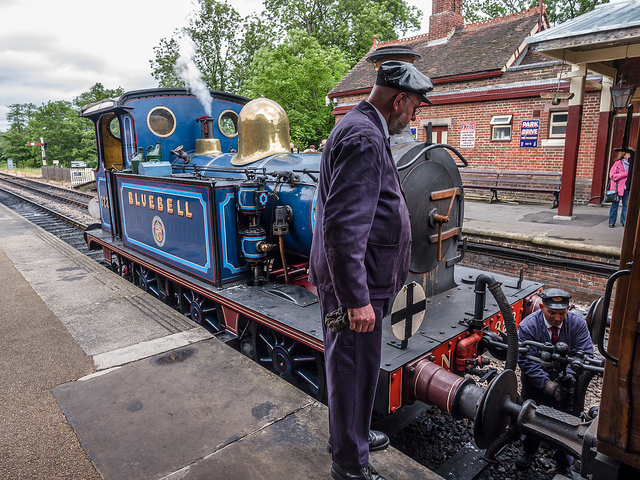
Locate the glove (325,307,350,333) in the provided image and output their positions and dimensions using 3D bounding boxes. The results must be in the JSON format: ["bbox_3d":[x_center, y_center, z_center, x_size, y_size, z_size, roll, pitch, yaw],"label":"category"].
[{"bbox_3d":[0.112,0.481,2.638,0.126,0.074,0.154,-17,23,-11],"label":"glove"}]

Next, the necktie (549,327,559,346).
[{"bbox_3d":[2.103,0.860,3.873,0.042,0.163,0.046,0,-5,6],"label":"necktie"}]

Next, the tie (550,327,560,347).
[{"bbox_3d":[2.107,0.861,3.875,0.043,0.184,0.053,0,-12,16],"label":"tie"}]

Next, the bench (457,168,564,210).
[{"bbox_3d":[5.291,-1.621,13.009,3.347,1.076,0.969,9,15,36],"label":"bench"}]

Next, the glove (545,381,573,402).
[{"bbox_3d":[2.004,1.257,3.637,0.135,0.069,0.184,4,-4,-17],"label":"glove"}]

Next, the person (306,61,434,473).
[{"bbox_3d":[0.251,0.186,2.862,0.493,2.582,0.856,7,18,34],"label":"person"}]
